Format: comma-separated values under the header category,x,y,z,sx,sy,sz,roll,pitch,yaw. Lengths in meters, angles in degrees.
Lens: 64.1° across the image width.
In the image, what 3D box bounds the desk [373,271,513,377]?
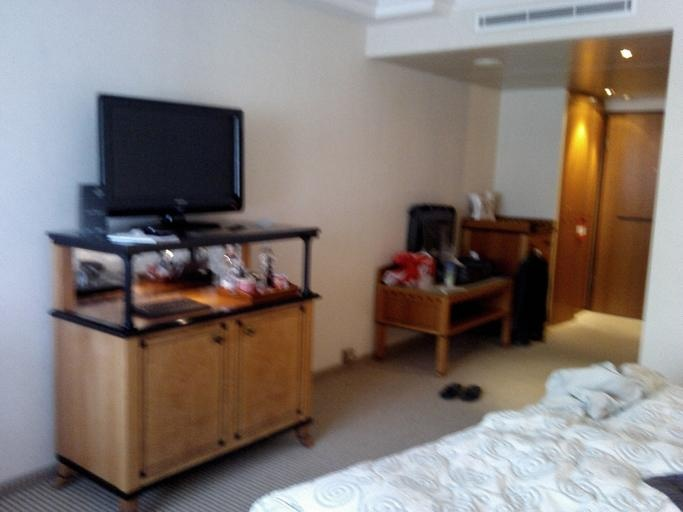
category,x,y,z,sx,sy,sz,roll,pitch,yaw
desk,0.795,0.399,4.154,0.666,0.615,0.959,8,12,43

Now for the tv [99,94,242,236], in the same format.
category,x,y,z,sx,sy,sz,roll,pitch,yaw
tv,-0.785,-0.422,2.539,0.226,0.584,0.778,10,12,35

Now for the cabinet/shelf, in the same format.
category,x,y,z,sx,sy,sz,roll,pitch,yaw
cabinet/shelf,-0.689,0.442,2.508,1.152,1.124,0.506,-6,17,-32

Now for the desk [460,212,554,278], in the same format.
category,x,y,z,sx,sy,sz,roll,pitch,yaw
desk,1.257,-0.140,4.156,0.699,0.664,0.403,10,16,41

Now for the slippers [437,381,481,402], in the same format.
category,x,y,z,sx,sy,sz,roll,pitch,yaw
slippers,0.752,0.855,3.467,0.180,0.064,0.121,-2,3,13

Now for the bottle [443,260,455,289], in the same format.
category,x,y,z,sx,sy,sz,roll,pitch,yaw
bottle,0.771,0.132,3.894,0.065,0.185,0.058,16,-15,-42
